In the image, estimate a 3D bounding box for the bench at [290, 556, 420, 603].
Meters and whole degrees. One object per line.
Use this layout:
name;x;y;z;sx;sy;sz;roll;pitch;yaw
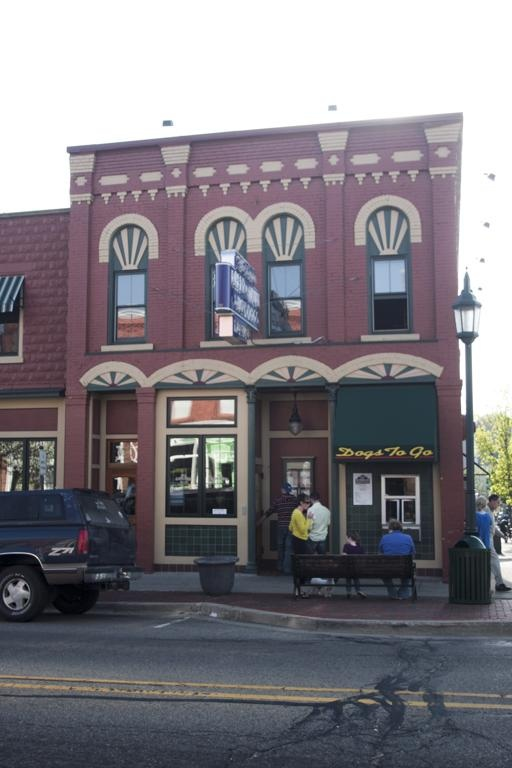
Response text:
bench;1.496;2.997;14.754;1.789;0.688;2.139;-2;-10;4

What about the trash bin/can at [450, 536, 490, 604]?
trash bin/can;3.061;2.658;13.527;0.590;0.967;0.331;-3;-10;10

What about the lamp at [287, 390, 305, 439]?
lamp;0.811;0.593;19.406;0.296;0.848;0.748;-2;-10;3

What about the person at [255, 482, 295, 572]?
person;0.497;2.804;18.313;0.746;1.744;0.485;-8;-12;36

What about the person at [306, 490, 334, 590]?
person;1.091;2.783;16.964;0.541;1.693;0.487;-3;8;-24

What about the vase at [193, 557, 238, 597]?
vase;-0.636;3.024;14.864;0.472;0.606;0.666;-8;-12;32
